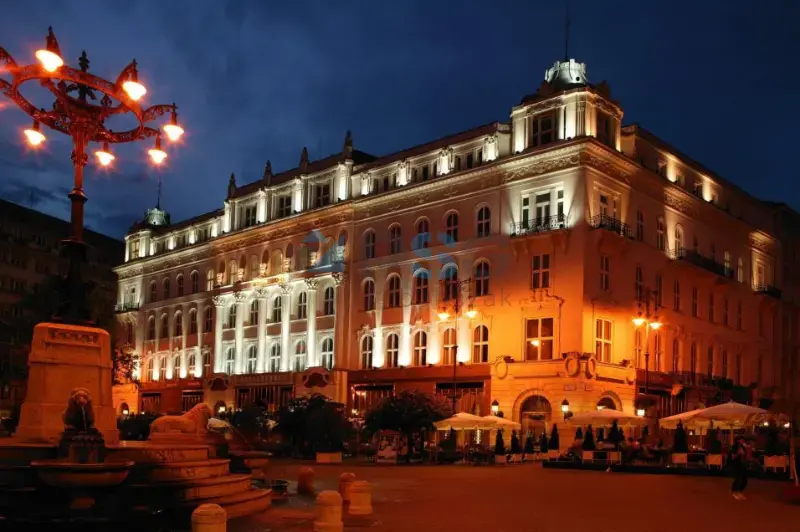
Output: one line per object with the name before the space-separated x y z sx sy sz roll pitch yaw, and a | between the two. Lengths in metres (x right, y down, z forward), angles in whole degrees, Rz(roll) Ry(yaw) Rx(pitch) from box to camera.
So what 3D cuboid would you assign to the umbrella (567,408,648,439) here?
umbrella | 12.393 9.554 55.863 5.604 1.933 2.900 -4 -13 7
